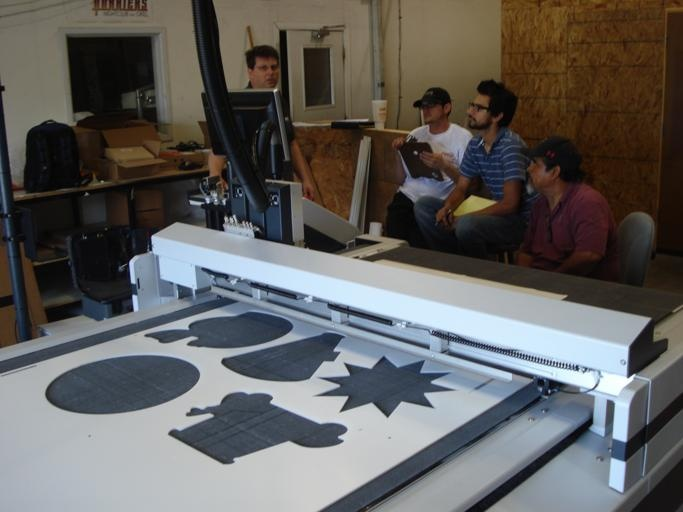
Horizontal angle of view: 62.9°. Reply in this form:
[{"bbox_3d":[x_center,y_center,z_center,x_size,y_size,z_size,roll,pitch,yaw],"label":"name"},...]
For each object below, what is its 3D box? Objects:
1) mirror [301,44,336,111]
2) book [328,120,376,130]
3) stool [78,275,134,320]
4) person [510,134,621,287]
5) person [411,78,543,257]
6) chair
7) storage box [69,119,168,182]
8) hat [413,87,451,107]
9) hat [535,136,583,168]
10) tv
[{"bbox_3d":[-0.276,-2.017,6.222,0.041,0.832,0.608,14,22,43],"label":"mirror"},{"bbox_3d":[0.105,-1.274,5.419,0.420,0.100,0.083,3,8,-7],"label":"book"},{"bbox_3d":[-1.469,0.232,3.596,0.276,0.175,0.382,7,12,29],"label":"stool"},{"bbox_3d":[1.272,-0.231,3.144,0.521,0.881,0.650,-9,11,-19],"label":"person"},{"bbox_3d":[0.944,-0.539,4.130,0.845,1.414,0.850,6,16,34],"label":"person"},{"bbox_3d":[1.357,-0.039,2.912,0.350,0.406,0.293,-1,4,-1],"label":"chair"},{"bbox_3d":[-1.881,-0.927,4.793,0.528,0.328,0.709,-18,29,-40],"label":"storage box"},{"bbox_3d":[0.799,-1.296,4.654,0.317,0.188,0.210,3,18,-18],"label":"hat"},{"bbox_3d":[1.190,-0.566,3.047,0.232,0.136,0.165,26,26,17],"label":"hat"},{"bbox_3d":[-0.417,-0.572,2.377,0.399,0.310,0.343,-2,10,-34],"label":"tv"}]
